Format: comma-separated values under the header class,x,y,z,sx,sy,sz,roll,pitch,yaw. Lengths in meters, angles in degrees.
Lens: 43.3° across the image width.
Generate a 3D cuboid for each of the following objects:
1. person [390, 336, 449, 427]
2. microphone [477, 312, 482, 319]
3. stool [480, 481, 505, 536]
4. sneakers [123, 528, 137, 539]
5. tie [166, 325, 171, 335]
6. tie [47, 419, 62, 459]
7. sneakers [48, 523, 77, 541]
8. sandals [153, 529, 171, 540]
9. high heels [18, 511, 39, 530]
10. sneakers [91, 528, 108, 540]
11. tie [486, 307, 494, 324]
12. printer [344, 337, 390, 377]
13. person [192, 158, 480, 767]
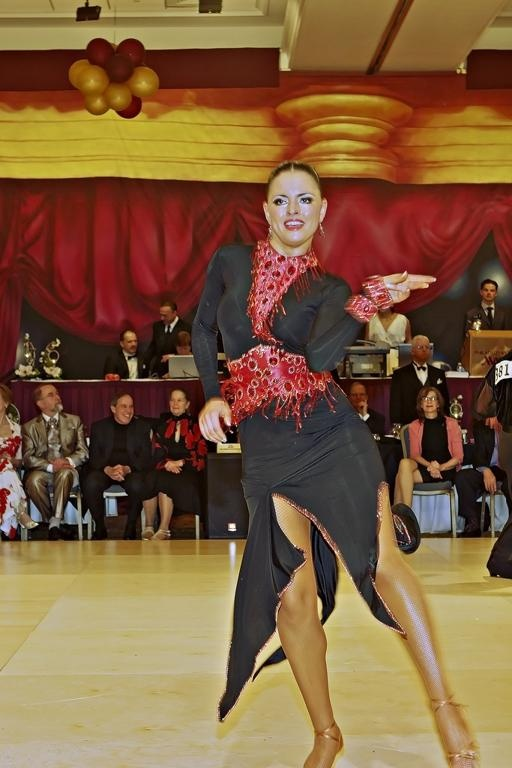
class,x,y,z,sx,sy,sz,roll,pitch,yaw
person,1.765,0.214,6.916,0.657,1.379,0.359,0,-3,-2
microphone,2.940,-0.888,8.432,0.022,0.085,0.086,-8,-42,13
stool,2.113,1.123,5.752,0.218,0.477,0.440,-4,-8,19
sneakers,-1.097,1.315,5.581,0.096,0.044,0.127,0,4,-6
tie,-1.187,-0.720,8.719,0.063,0.079,0.021,0,5,40
tie,-1.875,0.503,5.969,0.122,0.398,0.063,1,-8,-15
sneakers,-1.719,1.334,5.720,0.154,0.159,0.418,0,-3,-1
sandals,-0.792,1.294,5.475,0.073,0.054,0.137,-6,-11,27
high heels,-1.869,1.135,5.345,0.086,0.102,0.265,-31,27,-30
sneakers,-1.378,1.329,5.641,0.096,0.137,0.145,-4,-27,7
tie,3.117,-0.906,8.552,0.063,0.236,0.062,0,-28,7
printer,1.141,-0.240,6.565,0.567,0.359,0.360,0,-8,-1
person,0.144,0.153,1.360,0.302,1.224,0.634,5,-10,-42
